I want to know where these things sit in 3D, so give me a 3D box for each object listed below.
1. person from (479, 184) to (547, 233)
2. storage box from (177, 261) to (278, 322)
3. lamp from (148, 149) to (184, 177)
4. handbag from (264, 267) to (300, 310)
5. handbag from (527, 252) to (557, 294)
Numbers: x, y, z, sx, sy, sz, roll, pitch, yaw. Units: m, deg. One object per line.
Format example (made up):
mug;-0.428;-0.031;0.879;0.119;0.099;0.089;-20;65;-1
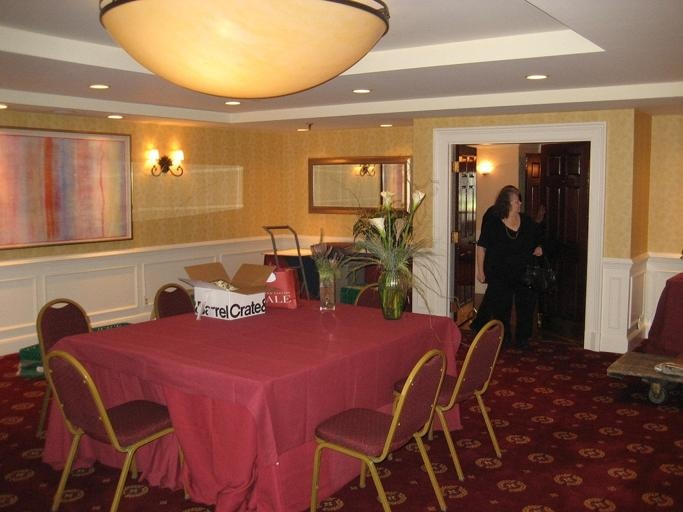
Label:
person;2.336;-0.637;6.111;1.497;0.493;0.661;-5;9;-40
storage box;-0.837;0.260;3.668;0.514;0.284;0.486;3;5;34
lamp;-2.601;-1.385;7.156;0.111;0.405;0.581;6;9;40
handbag;-0.478;0.268;3.817;0.330;0.346;0.206;3;5;15
handbag;2.418;0.219;5.780;0.514;0.550;0.220;-3;2;-34
